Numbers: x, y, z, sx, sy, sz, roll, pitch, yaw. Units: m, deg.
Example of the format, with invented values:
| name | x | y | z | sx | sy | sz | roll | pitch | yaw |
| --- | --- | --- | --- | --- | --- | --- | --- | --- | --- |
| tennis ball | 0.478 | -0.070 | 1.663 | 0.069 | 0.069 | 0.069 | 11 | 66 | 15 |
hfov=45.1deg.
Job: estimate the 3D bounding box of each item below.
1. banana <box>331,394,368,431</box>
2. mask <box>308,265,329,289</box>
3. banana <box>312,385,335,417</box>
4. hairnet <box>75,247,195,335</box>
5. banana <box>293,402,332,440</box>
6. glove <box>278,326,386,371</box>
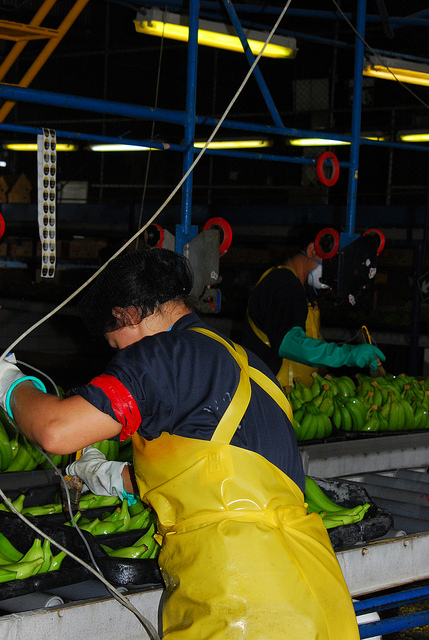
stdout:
| name | x | y | z | sx | sy | sz | roll | pitch | yaw |
| --- | --- | --- | --- | --- | --- | --- | --- | --- | --- |
| banana | 1.015 | 0.706 | 3.919 | 0.157 | 0.226 | 0.160 | -33 | 9 | -16 |
| mask | 0.785 | -0.330 | 3.966 | 0.138 | 0.098 | 0.175 | 0 | 1 | 13 |
| banana | 0.871 | 0.629 | 4.042 | 0.108 | 0.217 | 0.128 | -29 | 9 | 45 |
| hairnet | -0.179 | -0.067 | 1.203 | 0.261 | 0.184 | 0.214 | 4 | 0 | -15 |
| banana | 0.677 | 0.703 | 3.590 | 0.191 | 0.118 | 0.257 | -1 | 27 | -1 |
| glove | 0.787 | 0.215 | 3.470 | 0.635 | 0.187 | 0.438 | 11 | 6 | 29 |
